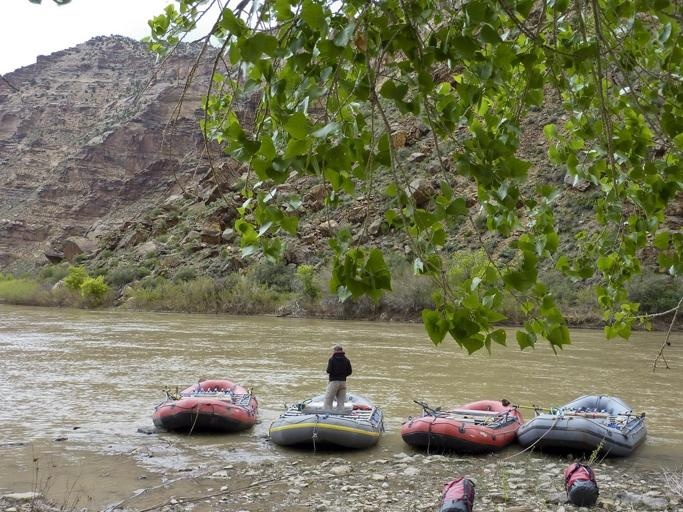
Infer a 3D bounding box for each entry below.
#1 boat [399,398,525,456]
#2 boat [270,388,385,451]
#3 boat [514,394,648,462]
[{"bbox_3d":[2.055,2.789,11.475,2.078,0.877,1.161,12,-11,-41],"label":"boat"},{"bbox_3d":[-0.195,2.805,11.552,1.811,0.777,1.450,11,-10,-34],"label":"boat"},{"bbox_3d":[3.818,2.765,11.551,2.142,0.928,2.487,-3,-11,40],"label":"boat"}]
